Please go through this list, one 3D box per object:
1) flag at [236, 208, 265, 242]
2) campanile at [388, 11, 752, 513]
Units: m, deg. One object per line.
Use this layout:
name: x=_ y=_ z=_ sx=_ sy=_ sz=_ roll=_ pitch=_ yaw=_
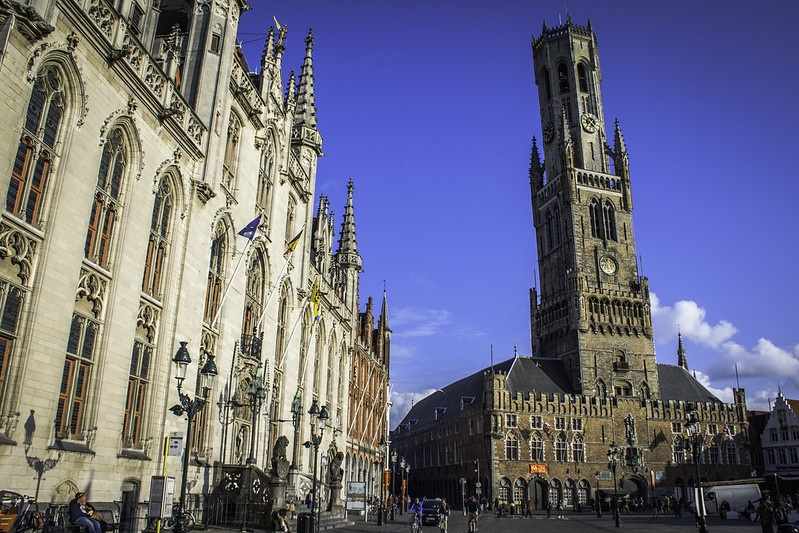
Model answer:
flag: x=-7.962 y=-2.211 z=36.835 sx=0.974 sy=1.892 sz=0.093 roll=48 pitch=-13 yaw=-7
campanile: x=27.365 y=-2.404 z=101.827 sx=49.678 sy=65.653 sz=47.425 roll=2 pitch=-6 yaw=-38
